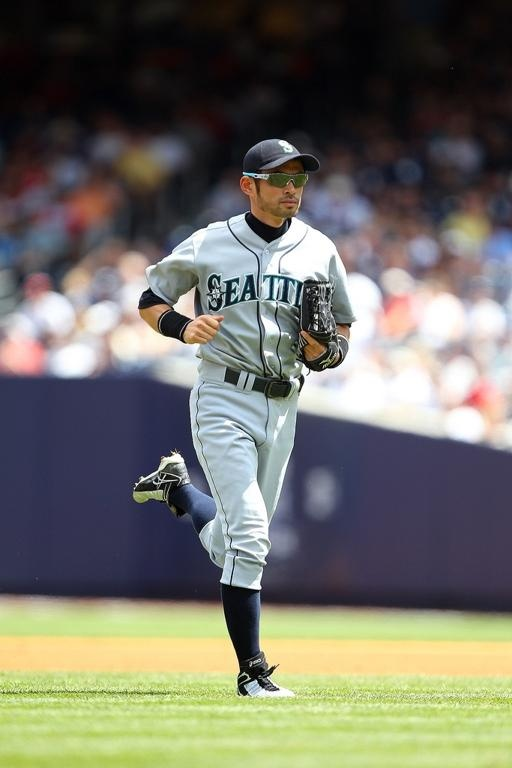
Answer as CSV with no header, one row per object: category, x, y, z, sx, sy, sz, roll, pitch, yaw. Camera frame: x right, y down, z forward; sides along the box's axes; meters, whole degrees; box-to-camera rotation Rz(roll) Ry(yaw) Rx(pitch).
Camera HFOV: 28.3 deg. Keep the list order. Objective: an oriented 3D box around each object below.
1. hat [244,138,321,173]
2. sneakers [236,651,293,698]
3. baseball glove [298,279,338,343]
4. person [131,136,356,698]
hat,0.079,-0.671,3.008,0.182,0.072,0.128,-7,0,35
sneakers,0.008,0.786,2.744,0.217,0.121,0.074,0,-5,25
baseball glove,0.178,-0.206,2.901,0.101,0.178,0.135,-4,23,3
person,-0.046,0.178,2.978,0.711,1.664,0.956,-3,24,5
